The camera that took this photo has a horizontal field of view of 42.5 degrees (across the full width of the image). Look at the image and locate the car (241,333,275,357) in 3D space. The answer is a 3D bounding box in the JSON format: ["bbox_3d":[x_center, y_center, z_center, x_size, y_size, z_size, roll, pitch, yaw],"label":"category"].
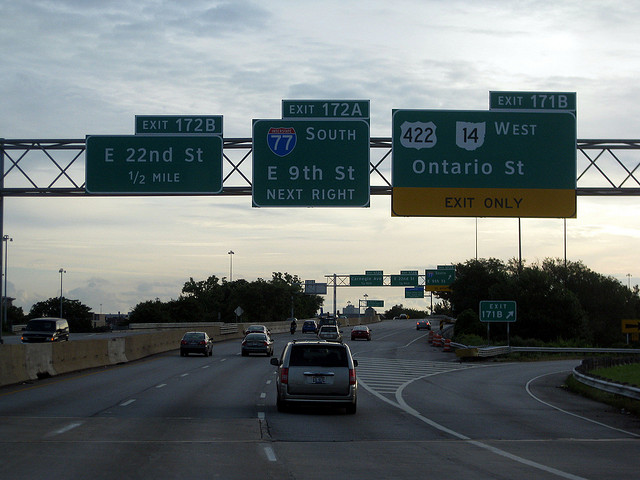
[{"bbox_3d":[-3.857,6.462,50.561,1.846,1.425,1.950,0,-5,-8],"label":"car"}]

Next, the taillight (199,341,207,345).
[{"bbox_3d":[-7.127,6.253,49.975,0.228,0.073,0.315,-1,-2,-2],"label":"taillight"}]

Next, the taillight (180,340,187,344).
[{"bbox_3d":[-8.286,6.251,50.260,0.254,0.108,0.387,3,-9,-11],"label":"taillight"}]

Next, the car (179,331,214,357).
[{"bbox_3d":[-7.630,6.395,50.484,1.533,1.440,2.336,-2,-5,10],"label":"car"}]

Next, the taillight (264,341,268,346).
[{"bbox_3d":[-3.269,6.294,49.967,0.081,0.264,0.406,-2,-5,14],"label":"taillight"}]

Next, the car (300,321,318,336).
[{"bbox_3d":[-1.128,9.428,88.802,1.412,1.285,1.746,0,-5,-6],"label":"car"}]

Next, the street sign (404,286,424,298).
[{"bbox_3d":[15.839,8.801,138.780,2.923,1.891,2.371,-2,-5,14],"label":"street sign"}]

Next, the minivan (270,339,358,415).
[{"bbox_3d":[-0.187,4.046,24.427,2.341,2.026,3.369,2,-4,-5],"label":"minivan"}]

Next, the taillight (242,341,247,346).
[{"bbox_3d":[-4.621,6.284,49.909,0.249,0.253,0.491,2,-5,-28],"label":"taillight"}]

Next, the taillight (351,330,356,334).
[{"bbox_3d":[3.173,8.700,77.484,0.201,0.287,0.697,0,-5,-12],"label":"taillight"}]

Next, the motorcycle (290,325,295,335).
[{"bbox_3d":[-2.888,9.501,86.974,0.275,0.999,1.302,-1,-5,-4],"label":"motorcycle"}]

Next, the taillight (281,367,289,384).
[{"bbox_3d":[-1.001,3.858,23.377,0.235,0.452,0.090,-2,-4,18],"label":"taillight"}]
